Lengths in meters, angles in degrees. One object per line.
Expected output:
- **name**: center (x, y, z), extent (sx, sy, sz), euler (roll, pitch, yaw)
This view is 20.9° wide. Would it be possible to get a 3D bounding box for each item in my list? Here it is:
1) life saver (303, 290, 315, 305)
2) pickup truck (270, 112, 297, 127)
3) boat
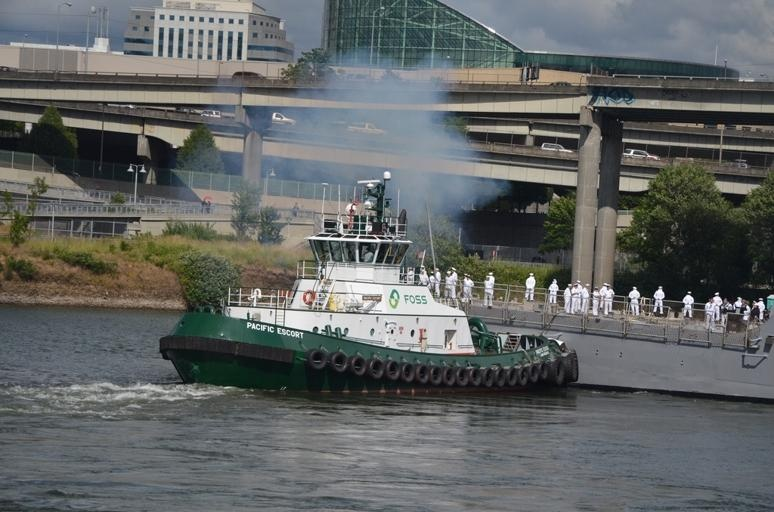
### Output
- **life saver**: center (-4.636, 2.199, 118.863), extent (0.690, 0.713, 0.162), euler (12, -4, 9)
- **pickup truck**: center (-7.917, -10.137, 153.437), extent (1.563, 0.804, 1.079), euler (-1, 5, 2)
- **boat**: center (-0.579, 3.376, 122.683), extent (24.373, 11.512, 10.678), euler (0, 4, -22)
